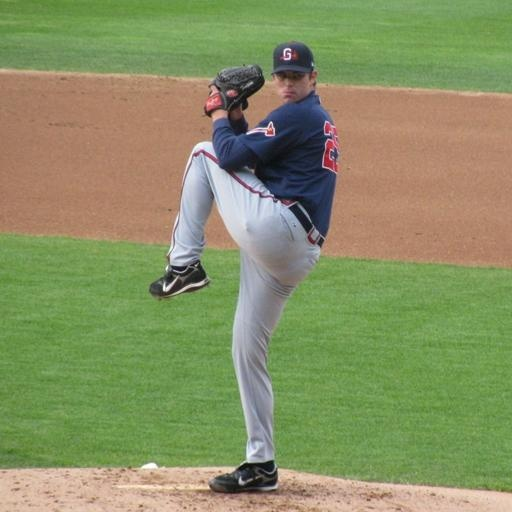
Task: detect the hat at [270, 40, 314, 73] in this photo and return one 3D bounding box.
[{"bbox_3d":[0.302,-1.730,10.468,0.228,0.195,0.339,3,13,10],"label":"hat"}]

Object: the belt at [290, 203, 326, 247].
[{"bbox_3d":[0.416,-0.278,10.418,0.361,0.094,0.257,54,9,8],"label":"belt"}]

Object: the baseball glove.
[{"bbox_3d":[-0.147,-1.473,10.747,0.547,0.287,0.350,-38,38,-1],"label":"baseball glove"}]

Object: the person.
[{"bbox_3d":[-0.055,0.111,10.692,1.358,3.938,0.979,4,16,3],"label":"person"}]
